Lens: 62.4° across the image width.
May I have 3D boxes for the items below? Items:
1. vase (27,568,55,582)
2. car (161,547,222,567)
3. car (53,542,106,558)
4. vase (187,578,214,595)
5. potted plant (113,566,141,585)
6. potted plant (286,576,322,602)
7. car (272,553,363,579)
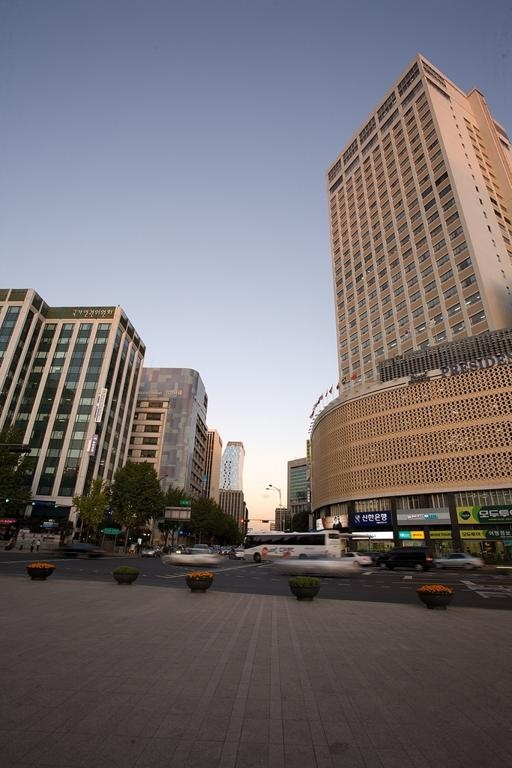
[{"bbox_3d":[-8.841,7.781,16.960,0.850,0.638,1.070,7,-18,-18],"label":"vase"},{"bbox_3d":[-5.251,14.622,34.502,3.465,1.261,5.336,6,-18,-14],"label":"car"},{"bbox_3d":[-15.706,14.897,36.707,3.590,1.224,1.917,-6,-19,21],"label":"car"},{"bbox_3d":[-2.178,7.658,15.789,0.874,0.719,0.867,2,-18,-1],"label":"vase"},{"bbox_3d":[-5.441,7.995,17.270,1.060,0.646,0.999,6,-19,-7],"label":"potted plant"},{"bbox_3d":[1.692,7.378,14.846,0.972,0.831,1.043,0,-18,5],"label":"potted plant"},{"bbox_3d":[3.673,11.888,26.475,4.421,1.517,3.016,10,-19,-27],"label":"car"}]
